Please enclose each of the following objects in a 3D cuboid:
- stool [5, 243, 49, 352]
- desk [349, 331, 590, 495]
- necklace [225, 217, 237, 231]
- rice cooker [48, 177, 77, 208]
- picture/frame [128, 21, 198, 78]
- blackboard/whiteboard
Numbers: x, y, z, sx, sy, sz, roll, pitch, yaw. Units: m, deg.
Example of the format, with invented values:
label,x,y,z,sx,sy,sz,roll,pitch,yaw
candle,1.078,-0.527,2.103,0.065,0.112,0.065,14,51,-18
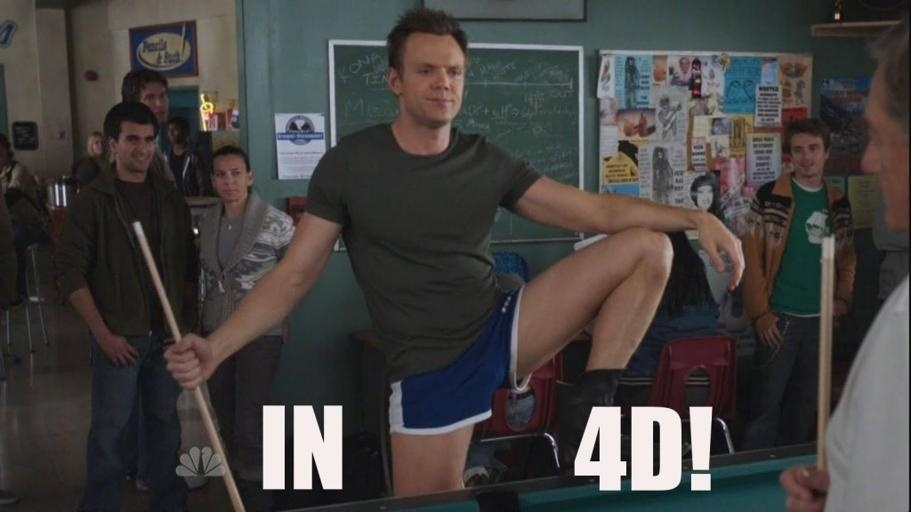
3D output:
label,x,y,z,sx,sy,sz,roll,pitch,yaw
stool,-2.759,0.237,4.850,0.267,0.748,0.677,-1,-4,-17
desk,0.246,1.104,5.052,1.163,0.957,0.904,-8,-5,-21
necklace,-1.492,-0.217,5.012,0.066,0.062,0.020,-16,-32,-20
rice cooker,-2.551,-0.414,4.881,0.205,0.208,0.196,0,-2,2
picture/frame,-2.031,-1.430,5.174,0.442,0.345,0.043,-6,7,-20
blackboard/whiteboard,-0.043,-0.717,4.508,1.844,1.239,0.062,-1,0,-12
